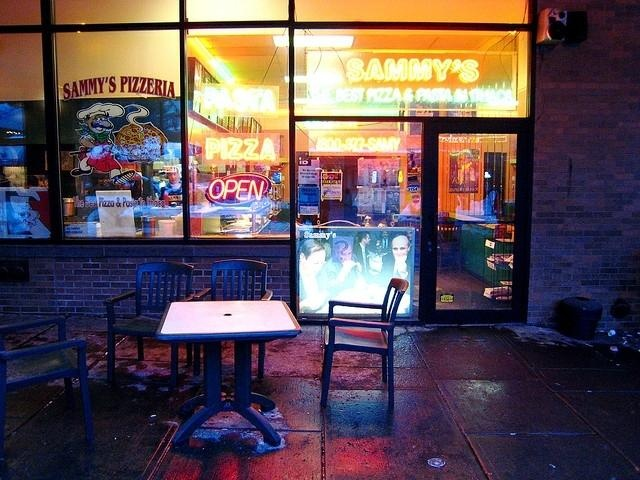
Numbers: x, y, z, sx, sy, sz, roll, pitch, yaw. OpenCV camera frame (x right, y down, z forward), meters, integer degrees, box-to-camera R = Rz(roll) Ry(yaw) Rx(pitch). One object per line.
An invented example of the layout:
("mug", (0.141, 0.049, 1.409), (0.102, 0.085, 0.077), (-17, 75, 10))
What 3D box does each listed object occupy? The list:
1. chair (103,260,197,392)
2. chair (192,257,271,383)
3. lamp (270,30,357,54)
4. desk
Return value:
("chair", (-1.849, 0.780, 6.604), (0.965, 1.499, 0.979), (4, 12, -29))
("chair", (-0.992, 0.953, 6.897), (0.743, 1.453, 0.762), (0, 1, 1))
("lamp", (-0.010, -2.561, 7.628), (1.200, 0.248, 0.190), (1, 9, 0))
("desk", (-0.843, 1.250, 5.565), (1.241, 1.144, 0.903), (-1, 9, -4))
